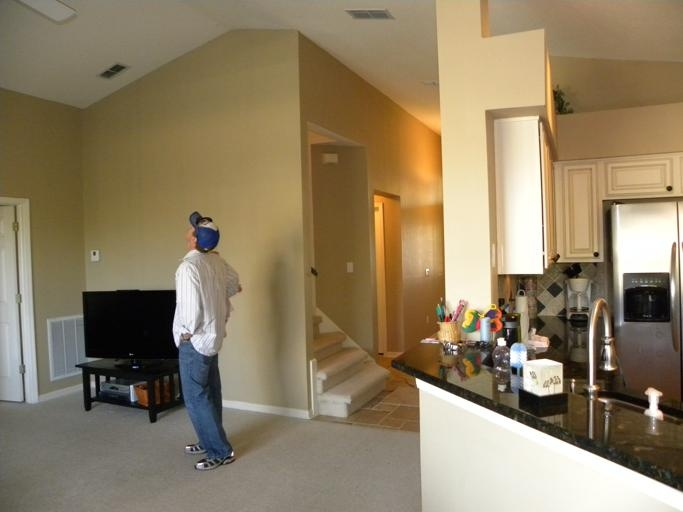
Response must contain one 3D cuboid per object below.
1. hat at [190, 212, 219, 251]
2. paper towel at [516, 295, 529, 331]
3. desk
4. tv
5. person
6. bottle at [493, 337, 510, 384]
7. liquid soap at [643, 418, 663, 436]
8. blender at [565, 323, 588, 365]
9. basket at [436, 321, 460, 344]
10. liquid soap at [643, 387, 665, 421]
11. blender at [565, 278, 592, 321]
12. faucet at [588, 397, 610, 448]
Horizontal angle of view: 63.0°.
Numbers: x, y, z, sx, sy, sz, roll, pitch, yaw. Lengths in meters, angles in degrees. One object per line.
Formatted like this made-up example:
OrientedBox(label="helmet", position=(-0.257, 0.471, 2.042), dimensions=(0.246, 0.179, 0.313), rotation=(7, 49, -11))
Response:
OrientedBox(label="hat", position=(-1.150, -0.188, 4.750), dimensions=(0.175, 0.350, 0.223), rotation=(-3, 13, 42))
OrientedBox(label="paper towel", position=(1.579, 0.508, 4.872), dimensions=(0.114, 0.269, 0.820), rotation=(1, 10, 18))
OrientedBox(label="desk", position=(-2.316, 1.403, 5.909), dimensions=(0.759, 0.381, 0.441), rotation=(5, -6, -3))
OrientedBox(label="tv", position=(-2.332, 0.793, 6.048), dimensions=(0.214, 0.780, 1.094), rotation=(-13, -14, 36))
OrientedBox(label="person", position=(-1.150, 0.695, 4.729), dimensions=(0.501, 2.096, 0.579), rotation=(-6, 10, -26))
OrientedBox(label="bottle", position=(0.932, 0.584, 3.248), dimensions=(0.091, 0.249, 0.245), rotation=(1, 9, 16))
OrientedBox(label="liquid soap", position=(1.468, 0.804, 2.632), dimensions=(0.062, 0.066, 0.061), rotation=(-5, -2, -35))
OrientedBox(label="blender", position=(1.877, 0.677, 4.395), dimensions=(0.127, 0.198, 0.516), rotation=(-1, 4, 24))
OrientedBox(label="basket", position=(0.771, 0.555, 4.062), dimensions=(0.158, 0.144, 0.163), rotation=(0, -5, -9))
OrientedBox(label="liquid soap", position=(1.555, 0.732, 2.773), dimensions=(0.093, 0.167, 0.094), rotation=(25, -37, -2))
OrientedBox(label="blender", position=(2.419, 0.437, 5.675), dimensions=(0.246, 0.412, 0.273), rotation=(-2, 0, 36))
OrientedBox(label="faucet", position=(1.237, 0.794, 2.725), dimensions=(0.047, 0.204, 0.047), rotation=(19, -20, -39))
